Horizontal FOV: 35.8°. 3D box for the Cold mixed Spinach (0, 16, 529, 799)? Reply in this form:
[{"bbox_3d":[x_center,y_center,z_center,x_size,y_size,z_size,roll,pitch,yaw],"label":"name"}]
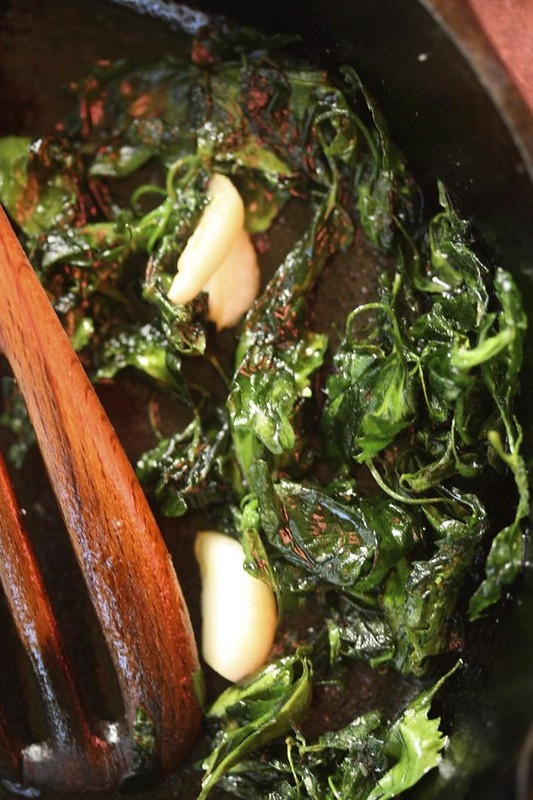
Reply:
[{"bbox_3d":[0.024,-0.022,0.862,0.600,0.712,0.149,-2,13,16],"label":"Cold mixed Spinach"}]
